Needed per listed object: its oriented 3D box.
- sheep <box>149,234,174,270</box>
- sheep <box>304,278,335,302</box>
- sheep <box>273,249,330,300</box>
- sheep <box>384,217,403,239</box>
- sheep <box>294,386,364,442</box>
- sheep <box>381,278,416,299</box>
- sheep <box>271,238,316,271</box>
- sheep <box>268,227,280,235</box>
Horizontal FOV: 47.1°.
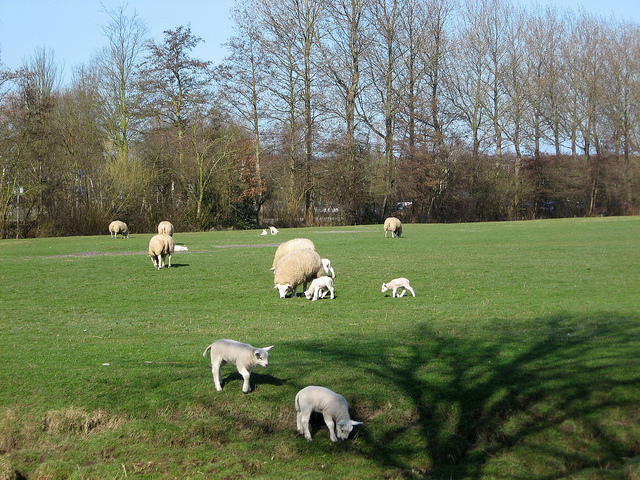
[{"bbox_3d":[-6.569,0.470,30.456,0.809,1.363,1.753,0,2,9],"label":"sheep"},{"bbox_3d":[0.016,1.597,23.988,0.933,0.722,0.858,-1,2,-20],"label":"sheep"},{"bbox_3d":[-0.739,1.054,24.741,1.526,1.716,1.322,2,3,-12],"label":"sheep"},{"bbox_3d":[4.534,-0.785,45.226,0.667,1.139,1.809,-1,2,-7],"label":"sheep"},{"bbox_3d":[0.116,3.856,16.928,1.235,1.255,1.698,5,3,-13],"label":"sheep"},{"bbox_3d":[2.597,1.566,24.207,1.164,0.630,0.932,0,2,20],"label":"sheep"},{"bbox_3d":[-1.268,0.631,28.000,2.265,1.359,0.720,-4,8,27],"label":"sheep"},{"bbox_3d":[-3.279,-0.659,52.231,0.443,0.487,1.324,-1,2,-8],"label":"sheep"}]
